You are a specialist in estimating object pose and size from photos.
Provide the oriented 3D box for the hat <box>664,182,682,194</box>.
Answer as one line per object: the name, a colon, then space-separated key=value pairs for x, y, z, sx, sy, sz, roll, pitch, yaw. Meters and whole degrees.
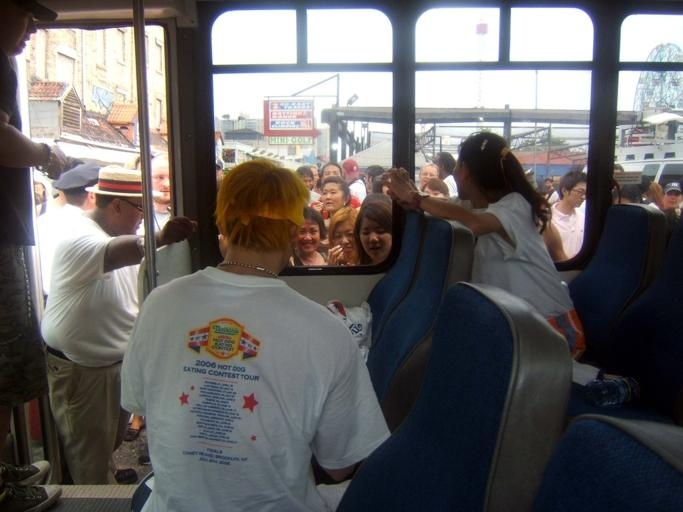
hat: x=1.938 y=-0.399 z=3.242 sx=0.087 sy=0.062 sz=0.072 roll=5 pitch=11 yaw=28

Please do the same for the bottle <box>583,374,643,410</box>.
bottle: x=1.238 y=0.619 z=2.557 sx=0.207 sy=0.096 sz=0.129 roll=-3 pitch=-1 yaw=-31

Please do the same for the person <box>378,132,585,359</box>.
person: x=0.968 y=-0.201 z=3.331 sx=1.018 sy=1.836 sz=0.890 roll=-3 pitch=9 yaw=27

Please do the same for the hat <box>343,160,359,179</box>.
hat: x=0.052 y=-0.497 z=3.155 sx=0.067 sy=0.057 sz=0.098 roll=-20 pitch=43 yaw=-35

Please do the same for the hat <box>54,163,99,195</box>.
hat: x=-1.501 y=-0.444 z=3.166 sx=0.244 sy=0.073 sz=0.210 roll=-38 pitch=49 yaw=-26

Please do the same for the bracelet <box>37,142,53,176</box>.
bracelet: x=-1.114 y=-0.364 z=2.094 sx=0.070 sy=0.102 sz=0.035 roll=-6 pitch=36 yaw=-19

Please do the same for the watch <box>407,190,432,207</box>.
watch: x=0.386 y=-0.285 z=2.769 sx=0.092 sy=0.105 sz=0.065 roll=9 pitch=9 yaw=16

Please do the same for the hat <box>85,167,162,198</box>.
hat: x=-1.170 y=-0.416 z=2.960 sx=0.400 sy=0.138 sz=0.393 roll=-2 pitch=11 yaw=-34
